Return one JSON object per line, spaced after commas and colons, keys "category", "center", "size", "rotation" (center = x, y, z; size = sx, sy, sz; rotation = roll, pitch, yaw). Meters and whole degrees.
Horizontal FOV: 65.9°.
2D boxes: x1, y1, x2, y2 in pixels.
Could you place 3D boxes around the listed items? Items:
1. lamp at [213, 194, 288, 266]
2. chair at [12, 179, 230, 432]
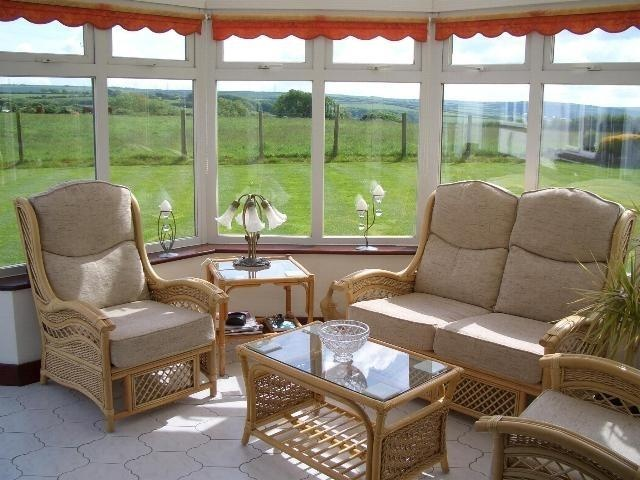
{"category": "lamp", "center": [-0.544, -0.076, 3.953], "size": [0.660, 0.526, 0.616], "rotation": [2, 1, -25]}
{"category": "chair", "center": [-1.340, 0.358, 3.389], "size": [1.070, 1.444, 0.924], "rotation": [15, 20, 43]}
